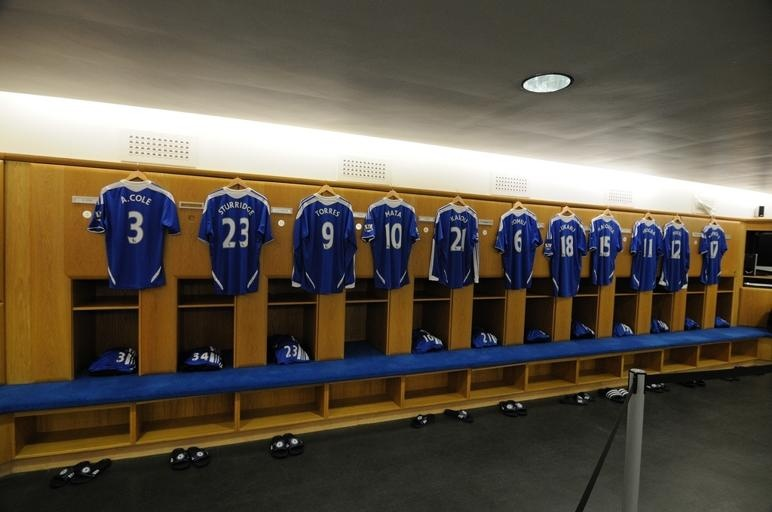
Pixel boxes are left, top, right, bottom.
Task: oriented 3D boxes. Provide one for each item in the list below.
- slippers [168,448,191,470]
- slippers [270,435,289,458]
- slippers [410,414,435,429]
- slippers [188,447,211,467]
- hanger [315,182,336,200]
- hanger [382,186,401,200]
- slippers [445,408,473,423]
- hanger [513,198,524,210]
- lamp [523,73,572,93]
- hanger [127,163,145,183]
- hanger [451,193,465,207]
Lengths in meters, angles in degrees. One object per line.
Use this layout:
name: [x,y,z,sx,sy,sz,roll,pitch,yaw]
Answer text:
slippers: [-1.985,1.963,5.556,0.123,0.073,0.226,0,12,-24]
slippers: [-1.077,1.921,5.787,0.194,0.136,0.223,-2,7,-13]
slippers: [0.402,1.814,6.299,0.272,0.102,0.097,3,-5,-40]
slippers: [-1.833,1.962,5.621,0.240,0.127,0.174,0,7,3]
hanger: [-0.679,-0.713,6.326,0.216,0.132,0.014,-1,13,-19]
hanger: [0.054,-0.717,6.584,0.187,0.178,0.014,-1,9,-15]
slippers: [0.809,1.785,6.460,0.305,0.106,0.117,0,2,31]
hanger: [1.623,-0.642,7.111,0.163,0.164,0.025,-1,9,-4]
lamp: [1.529,-1.639,5.472,0.461,0.138,0.289,2,7,18]
hanger: [-2.534,-0.833,5.822,0.215,0.204,0.011,-1,4,-15]
hanger: [0.839,-0.666,6.822,0.188,0.116,0.009,0,0,-12]
